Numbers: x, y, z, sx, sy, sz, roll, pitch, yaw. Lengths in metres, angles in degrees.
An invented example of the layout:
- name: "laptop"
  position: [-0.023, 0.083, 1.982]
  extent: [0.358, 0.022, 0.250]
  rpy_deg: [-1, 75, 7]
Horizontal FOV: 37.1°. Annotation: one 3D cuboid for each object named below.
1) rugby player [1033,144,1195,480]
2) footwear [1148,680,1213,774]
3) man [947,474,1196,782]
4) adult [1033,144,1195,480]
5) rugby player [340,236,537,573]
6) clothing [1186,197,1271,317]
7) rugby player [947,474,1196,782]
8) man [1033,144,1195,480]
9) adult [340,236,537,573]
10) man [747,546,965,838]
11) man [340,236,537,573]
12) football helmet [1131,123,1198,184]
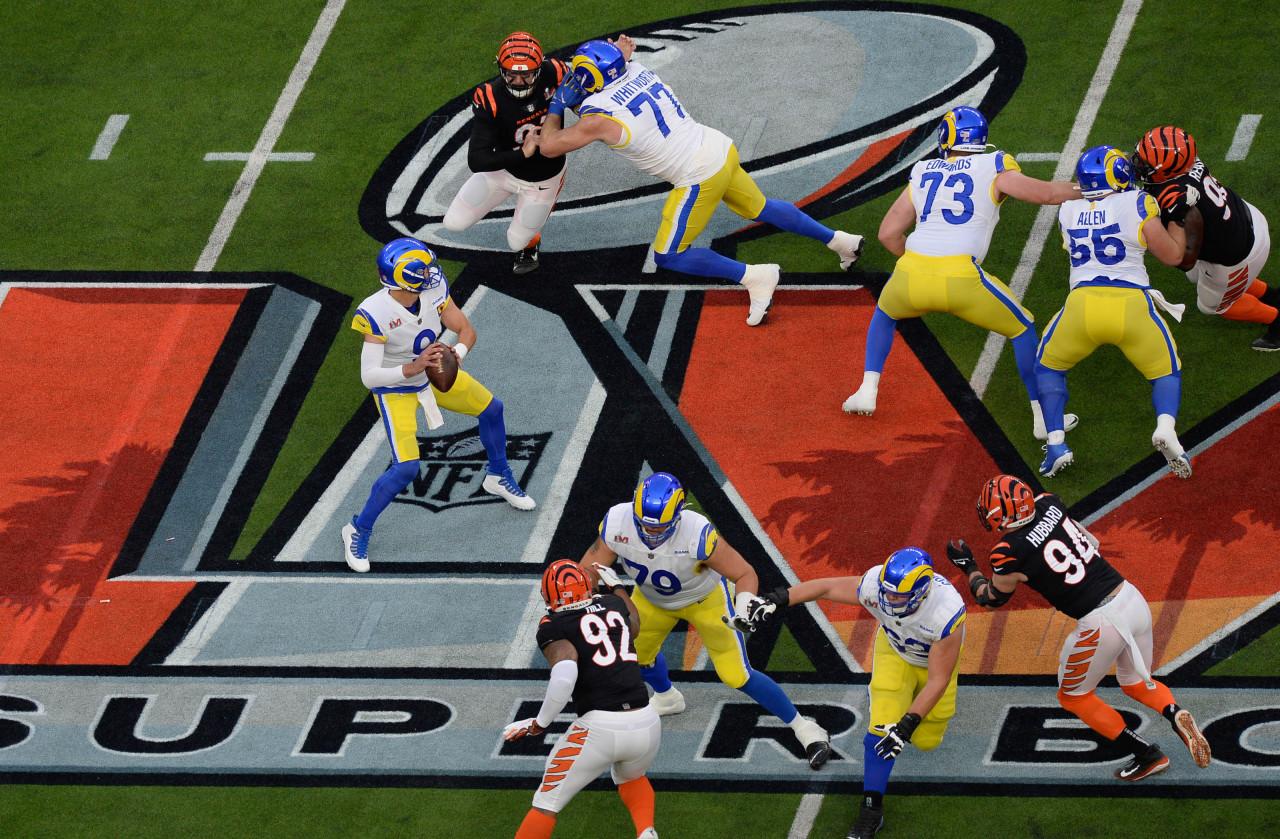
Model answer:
- name: "rugby player"
  position: [4.097, -0.845, 16.355]
  extent: [1.221, 2.737, 1.341]
  rpy_deg: [6, 32, 10]
- name: "footwear"
  position: [4.350, 2.481, 15.275]
  extent: [0.602, 0.238, 0.625]
  rpy_deg: [39, 29, -3]
- name: "man"
  position: [3.514, 1.638, 15.264]
  extent: [1.964, 2.248, 0.682]
  rpy_deg: [21, 38, 31]
- name: "adult"
  position: [4.095, -0.840, 16.346]
  extent: [1.221, 2.737, 1.361]
  rpy_deg: [6, 32, 10]
- name: "rugby player"
  position: [-1.852, -0.135, 16.497]
  extent: [1.690, 2.767, 1.037]
  rpy_deg: [-8, 33, -12]
- name: "clothing"
  position: [5.242, -1.433, 16.911]
  extent: [0.714, 0.694, 1.105]
  rpy_deg: [11, -3, 29]
- name: "rugby player"
  position: [3.511, 1.635, 15.271]
  extent: [1.954, 2.248, 0.687]
  rpy_deg: [21, 38, 32]
- name: "man"
  position: [4.095, -0.840, 16.346]
  extent: [1.221, 2.737, 1.361]
  rpy_deg: [6, 32, 10]
- name: "adult"
  position: [-1.851, -0.134, 16.496]
  extent: [1.691, 2.767, 1.040]
  rpy_deg: [-8, 33, -12]
- name: "man"
  position: [1.994, 2.096, 15.075]
  extent: [1.115, 2.198, 1.250]
  rpy_deg: [-4, 31, -6]
- name: "man"
  position: [-1.866, -0.137, 16.501]
  extent: [1.670, 2.767, 1.042]
  rpy_deg: [-8, 33, -13]
- name: "football helmet"
  position: [4.622, -2.304, 16.677]
  extent: [0.610, 0.398, 0.374]
  rpy_deg: [-5, 38, 14]
